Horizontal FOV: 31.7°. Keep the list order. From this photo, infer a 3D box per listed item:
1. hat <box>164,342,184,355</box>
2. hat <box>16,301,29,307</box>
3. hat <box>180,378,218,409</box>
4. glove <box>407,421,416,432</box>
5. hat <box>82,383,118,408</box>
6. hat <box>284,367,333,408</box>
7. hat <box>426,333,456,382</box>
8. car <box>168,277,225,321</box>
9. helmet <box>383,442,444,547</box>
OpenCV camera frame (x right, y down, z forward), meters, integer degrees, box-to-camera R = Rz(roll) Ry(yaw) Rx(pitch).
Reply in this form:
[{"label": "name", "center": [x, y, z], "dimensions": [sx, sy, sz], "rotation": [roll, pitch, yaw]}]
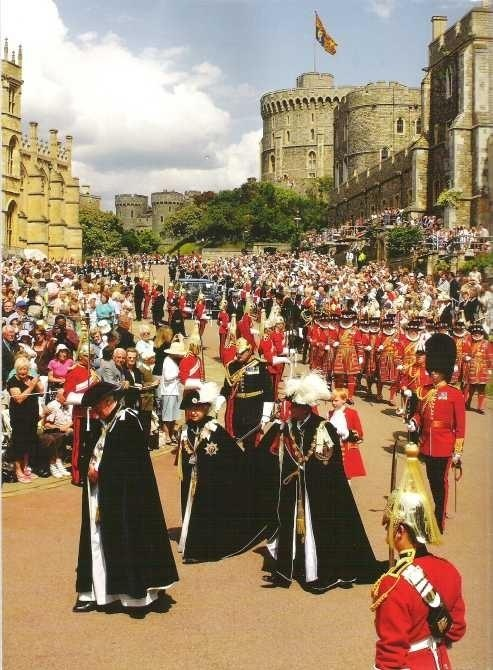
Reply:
[{"label": "hat", "center": [-1.006, 0.229, 11.903], "dimensions": [0.212, 0.101, 0.198], "rotation": [20, 10, -7]}, {"label": "hat", "center": [-4.003, -0.517, 15.388], "dimensions": [0.147, 0.110, 0.190], "rotation": [-1, -5, -1]}, {"label": "hat", "center": [-0.404, 0.487, 7.825], "dimensions": [0.247, 0.322, 0.263], "rotation": [8, -16, 28]}, {"label": "glove", "center": [1.600, 0.897, 8.457], "dimensions": [0.045, 0.107, 0.082], "rotation": [-7, -4, 9]}, {"label": "hat", "center": [-1.126, 0.452, 6.579], "dimensions": [0.230, 0.079, 0.193], "rotation": [-24, 2, 23]}, {"label": "hat", "center": [0.500, 0.455, 7.185], "dimensions": [0.348, 0.276, 0.148], "rotation": [3, 4, -5]}, {"label": "hat", "center": [1.849, 0.233, 8.355], "dimensions": [0.285, 0.489, 0.382], "rotation": [3, 6, 11]}, {"label": "car", "center": [-1.883, -1.395, 34.522], "dimensions": [2.003, 1.699, 1.883], "rotation": [1, 2, 24]}, {"label": "helmet", "center": [0.819, 0.813, 4.295], "dimensions": [0.273, 0.481, 0.368], "rotation": [2, 6, 9]}]
